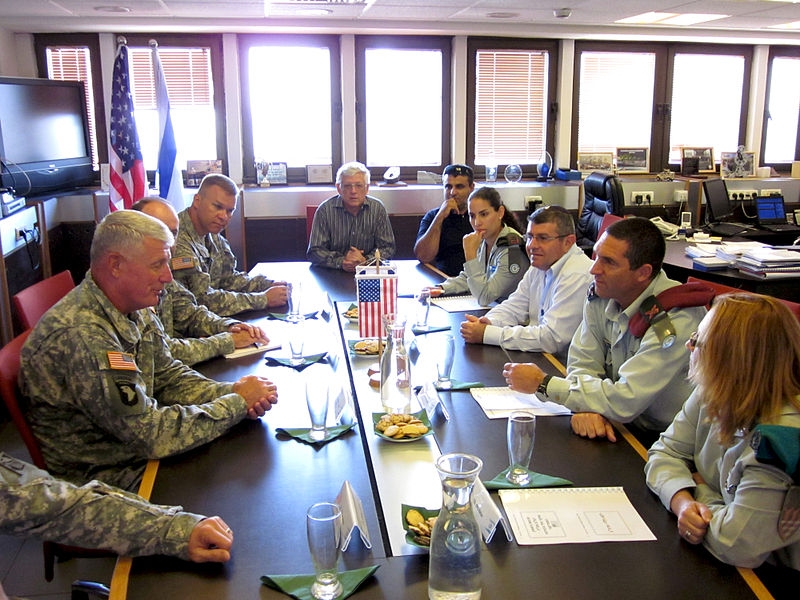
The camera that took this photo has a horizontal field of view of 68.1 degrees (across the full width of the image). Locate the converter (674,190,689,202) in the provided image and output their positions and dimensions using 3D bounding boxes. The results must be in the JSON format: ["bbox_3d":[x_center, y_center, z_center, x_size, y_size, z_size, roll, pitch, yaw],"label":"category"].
[{"bbox_3d":[2.751,-1.016,5.747,0.105,0.086,0.106,0,19,5],"label":"converter"}]

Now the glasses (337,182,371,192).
[{"bbox_3d":[-0.340,-0.852,4.431,0.221,0.077,0.195,-7,17,-15],"label":"glasses"}]

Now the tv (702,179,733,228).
[{"bbox_3d":[2.965,-0.897,5.514,0.095,0.424,0.428,-19,3,38],"label":"tv"}]

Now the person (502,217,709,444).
[{"bbox_3d":[0.840,0.204,2.249,0.739,1.001,0.489,-18,21,-33],"label":"person"}]

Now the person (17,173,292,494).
[{"bbox_3d":[-0.770,0.084,2.183,0.894,1.044,0.863,1,25,-6],"label":"person"}]

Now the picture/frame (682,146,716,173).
[{"bbox_3d":[3.067,-1.444,6.062,0.279,0.267,0.040,1,0,-6],"label":"picture/frame"}]

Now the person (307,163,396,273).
[{"bbox_3d":[-0.370,-0.563,4.501,0.604,0.945,0.646,-3,25,-18],"label":"person"}]

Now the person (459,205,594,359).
[{"bbox_3d":[0.705,-0.079,2.951,0.723,0.713,0.547,-10,15,-42],"label":"person"}]

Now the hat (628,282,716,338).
[{"bbox_3d":[0.966,0.007,2.117,0.300,0.103,0.162,-28,18,16],"label":"hat"}]

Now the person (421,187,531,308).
[{"bbox_3d":[0.379,-0.320,3.582,0.736,0.749,0.524,-6,8,-28],"label":"person"}]

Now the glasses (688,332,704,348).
[{"bbox_3d":[0.837,0.112,1.660,0.011,0.041,0.038,9,-7,-9],"label":"glasses"}]

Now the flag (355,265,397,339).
[{"bbox_3d":[-0.054,0.008,2.707,0.295,0.330,0.309,5,1,-4],"label":"flag"}]

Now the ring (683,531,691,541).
[{"bbox_3d":[0.721,0.587,1.476,0.015,0.007,0.021,-17,54,5],"label":"ring"}]

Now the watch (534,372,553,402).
[{"bbox_3d":[0.506,0.292,2.066,0.056,0.088,0.092,8,42,27],"label":"watch"}]

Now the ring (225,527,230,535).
[{"bbox_3d":[-0.431,0.578,1.480,0.009,0.005,0.014,4,13,-11],"label":"ring"}]

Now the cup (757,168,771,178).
[{"bbox_3d":[3.765,-1.322,6.084,0.122,0.091,0.128,-1,23,1],"label":"cup"}]

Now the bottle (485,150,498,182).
[{"bbox_3d":[0.916,-1.327,5.856,0.131,0.283,0.312,0,16,10],"label":"bottle"}]
